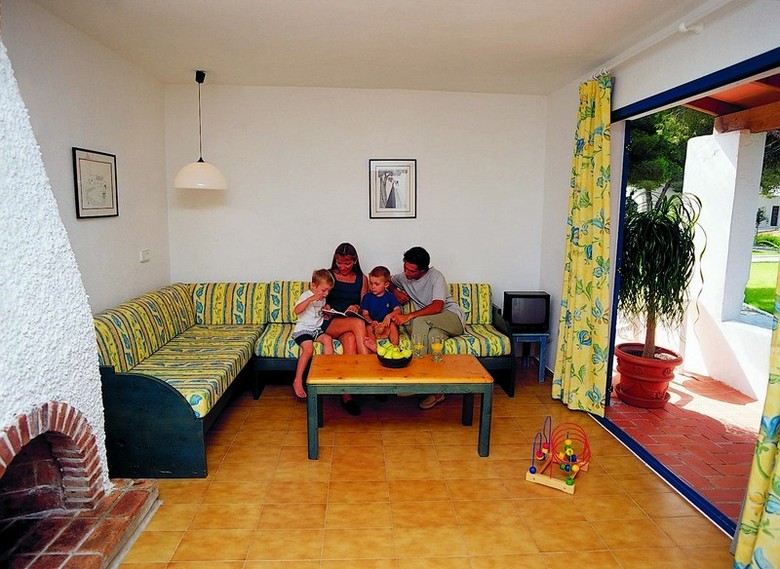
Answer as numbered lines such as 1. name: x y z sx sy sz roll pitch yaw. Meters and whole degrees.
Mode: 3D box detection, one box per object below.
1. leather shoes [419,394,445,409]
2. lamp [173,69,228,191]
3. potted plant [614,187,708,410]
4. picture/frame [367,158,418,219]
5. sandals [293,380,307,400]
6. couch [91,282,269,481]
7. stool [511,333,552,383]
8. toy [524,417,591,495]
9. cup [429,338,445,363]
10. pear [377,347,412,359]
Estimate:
1. leather shoes: 0.351 0.970 4.648 0.208 0.080 0.102 -3 5 -24
2. lamp: -1.705 -1.364 4.873 0.403 1.024 0.737 -4 9 -18
3. potted plant: 2.369 0.085 4.864 0.616 1.860 0.994 4 10 30
4. picture/frame: 0.003 -0.967 5.351 0.558 0.668 0.028 0 12 -4
5. sandals: -0.752 0.890 4.659 0.095 0.192 0.254 1 -4 -21
6. couch: -1.598 0.630 4.426 0.991 1.079 1.831 -2 8 -4
7. stool: 1.391 0.680 5.357 0.444 0.533 0.460 -1 0 6
8. toy: 1.221 1.199 3.950 0.315 0.355 0.630 3 0 27
9. cup: 0.341 0.498 4.168 0.133 0.228 0.148 1 1 0
10. pear: 0.037 0.477 3.983 0.162 0.058 0.101 -1 8 8
